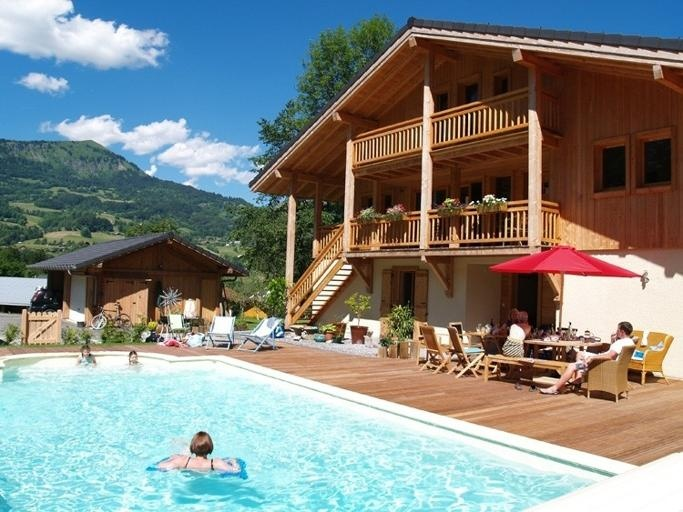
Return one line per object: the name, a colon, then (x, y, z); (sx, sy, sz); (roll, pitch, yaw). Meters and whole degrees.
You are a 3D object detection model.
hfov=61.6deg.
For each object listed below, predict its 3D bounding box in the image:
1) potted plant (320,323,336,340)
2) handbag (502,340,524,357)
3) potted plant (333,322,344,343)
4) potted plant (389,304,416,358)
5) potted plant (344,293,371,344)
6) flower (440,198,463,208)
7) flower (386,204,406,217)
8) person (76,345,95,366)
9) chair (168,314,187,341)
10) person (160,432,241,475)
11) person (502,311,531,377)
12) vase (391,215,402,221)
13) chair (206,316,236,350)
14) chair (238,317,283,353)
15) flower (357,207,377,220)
potted plant: (-0.488, 2.805, 21.092); (0.511, 0.523, 0.468); (1, -8, -6)
handbag: (3.729, 2.018, 12.600); (0.335, 0.405, 0.512); (11, -7, -40)
potted plant: (-0.102, 2.834, 21.298); (0.460, 0.478, 0.478); (1, -6, -1)
potted plant: (2.010, 2.170, 18.414); (1.041, 1.675, 0.997); (1, 1, 33)
potted plant: (0.626, 2.245, 21.085); (0.872, 1.917, 1.810); (2, -8, 0)
flower: (3.189, -1.520, 16.604); (0.429, 0.217, 0.471); (0, 2, 11)
flower: (1.732, -1.490, 18.637); (0.611, 0.562, 0.826); (2, -8, 0)
person: (-6.617, 2.572, 14.974); (0.478, 0.715, 0.490); (1, -1, -33)
chair: (-5.655, 2.431, 19.760); (0.568, 0.877, 2.361); (5, -8, -15)
person: (-2.178, 3.053, 9.264); (1.150, 0.571, 1.537); (6, -6, -4)
person: (3.901, 1.921, 12.860); (0.490, 1.496, 0.825); (10, 10, 26)
vase: (1.757, -1.225, 18.343); (0.272, 0.150, 0.193); (6, 6, 20)
chair: (-3.816, 2.385, 17.997); (0.941, 1.229, 1.421); (0, 0, 7)
chair: (-2.487, 2.433, 17.878); (1.087, 1.019, 2.387); (4, -8, -9)
flower: (0.879, -1.398, 19.241); (0.488, 0.370, 0.495); (1, 2, 24)
